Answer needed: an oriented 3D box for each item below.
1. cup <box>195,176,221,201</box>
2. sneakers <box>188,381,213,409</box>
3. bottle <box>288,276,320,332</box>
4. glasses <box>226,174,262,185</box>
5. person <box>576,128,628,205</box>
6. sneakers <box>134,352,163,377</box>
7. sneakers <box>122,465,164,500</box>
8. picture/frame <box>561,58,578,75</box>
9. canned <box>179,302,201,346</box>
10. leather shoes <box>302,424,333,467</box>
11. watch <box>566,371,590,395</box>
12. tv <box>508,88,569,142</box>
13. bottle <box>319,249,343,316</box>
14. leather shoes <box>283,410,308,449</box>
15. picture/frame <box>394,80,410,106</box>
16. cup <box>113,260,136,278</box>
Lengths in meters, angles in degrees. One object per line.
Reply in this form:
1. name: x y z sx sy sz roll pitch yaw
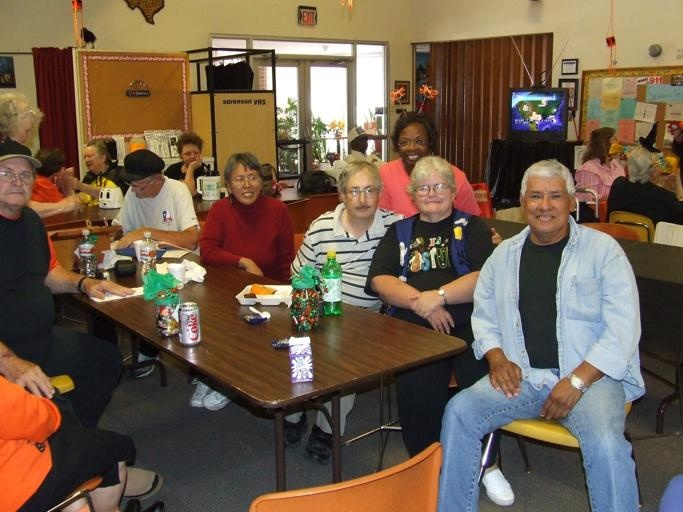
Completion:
1. cup: -1.284 -0.654 5.228 0.266 0.267 0.215 1 11 8
2. sneakers: -0.935 0.967 3.650 0.123 0.199 0.049 1 -25 27
3. bottle: -0.160 0.199 2.470 0.134 0.246 0.254 -3 20 -3
4. glasses: -0.617 -0.496 3.516 0.190 0.068 0.063 -7 21 -14
5. person: 3.058 -1.065 6.490 0.507 0.885 0.806 20 33 38
6. sneakers: -1.409 0.786 3.955 0.152 0.215 0.211 2 -6 -4
7. sneakers: -0.998 1.157 2.759 0.249 0.100 0.169 4 18 5
8. picture/frame: 3.266 -2.722 7.780 0.018 0.221 0.233 -4 11 -39
9. canned: -0.643 0.292 2.326 0.114 0.171 0.121 0 7 18
10. leather shoes: -0.113 1.052 3.089 0.153 0.118 0.285 12 22 7
11. watch: 0.979 0.530 2.258 0.058 0.090 0.021 -40 -20 1
12. tv: 2.776 -1.989 7.587 0.707 0.706 0.081 6 5 29
13. bottle: -0.049 0.120 2.626 0.092 0.283 0.196 -3 20 -3
14. leather shoes: -0.271 1.028 3.217 0.104 0.116 0.287 -2 11 21
15. picture/frame: 1.096 -3.016 9.924 0.372 0.467 0.045 -10 13 -37
16. cup: -1.265 0.066 3.206 0.102 0.071 0.103 1 6 0
